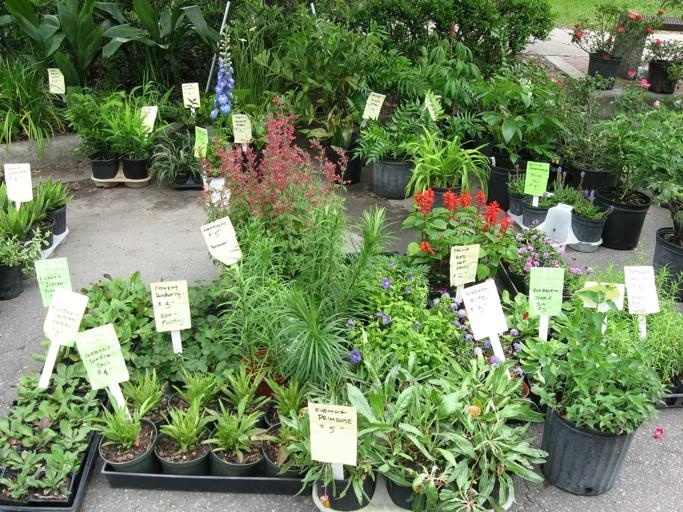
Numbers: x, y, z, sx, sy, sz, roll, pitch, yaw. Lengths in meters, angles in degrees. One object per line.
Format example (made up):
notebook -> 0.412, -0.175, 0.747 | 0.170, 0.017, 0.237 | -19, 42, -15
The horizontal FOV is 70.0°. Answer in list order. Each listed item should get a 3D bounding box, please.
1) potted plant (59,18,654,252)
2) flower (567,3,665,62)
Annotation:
potted plant -> 0.003, -1.255, 5.125 | 3.386, 0.996, 2.785 | 5, 36, -1
flower -> 4.184, -3.413, 7.491 | 0.881, 0.816, 1.175 | 0, 19, 1
